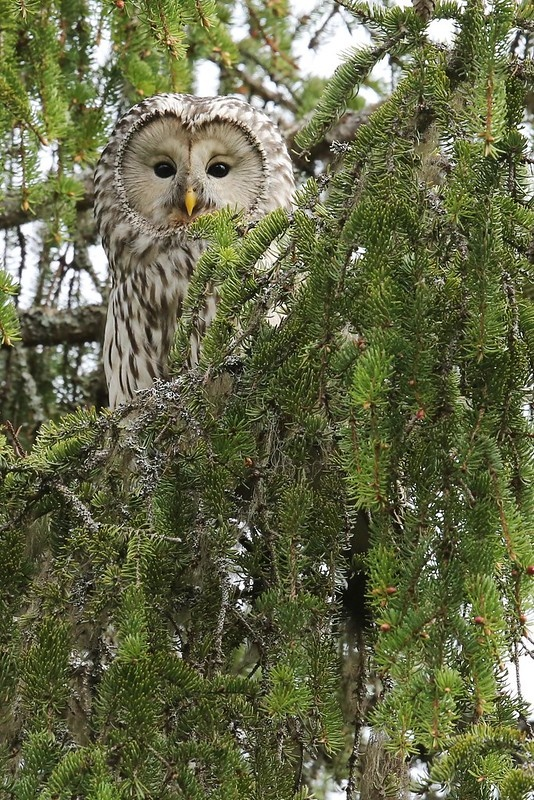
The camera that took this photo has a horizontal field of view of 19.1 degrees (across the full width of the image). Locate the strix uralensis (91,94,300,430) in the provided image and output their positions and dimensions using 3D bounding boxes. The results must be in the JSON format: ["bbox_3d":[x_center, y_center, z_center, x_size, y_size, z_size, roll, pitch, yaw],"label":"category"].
[{"bbox_3d":[-0.283,-0.501,5.138,0.611,0.622,1.311,17,-56,22],"label":"strix uralensis"}]
